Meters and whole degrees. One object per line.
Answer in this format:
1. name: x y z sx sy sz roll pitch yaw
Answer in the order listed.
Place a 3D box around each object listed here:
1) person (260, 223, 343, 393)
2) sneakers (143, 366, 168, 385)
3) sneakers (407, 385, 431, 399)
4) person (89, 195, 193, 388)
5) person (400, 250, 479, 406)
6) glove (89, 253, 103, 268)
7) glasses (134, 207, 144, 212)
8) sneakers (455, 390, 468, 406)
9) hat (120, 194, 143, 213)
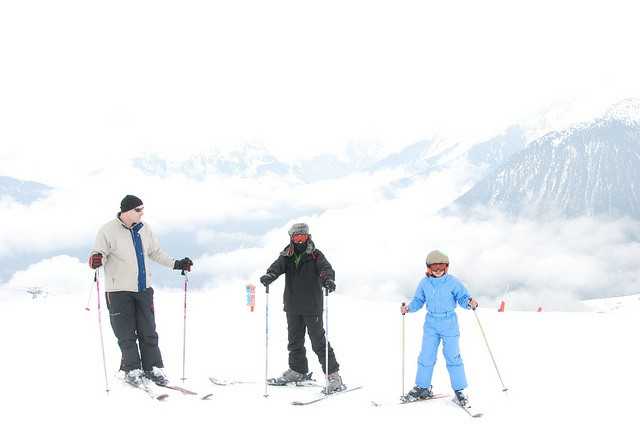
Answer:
1. person: -0.315 1.783 12.164 1.479 2.347 0.564 2 1 19
2. sneakers: -3.055 3.043 11.824 0.593 0.260 0.201 10 30 31
3. sneakers: 1.907 3.410 11.871 0.572 0.229 0.184 0 -4 -15
4. person: -3.583 1.418 11.900 1.448 3.528 0.839 2 1 -14
5. person: 2.210 2.130 11.707 1.155 2.442 0.466 2 1 12
6. glove: -4.139 0.871 11.550 0.226 0.278 0.191 1 1 -23
7. glasses: -3.256 -0.089 11.167 0.143 0.045 0.138 -17 -9 28
8. sneakers: 2.602 3.390 11.516 0.255 0.226 0.227 2 1 11
9. hat: -3.325 -0.155 10.957 0.268 0.200 0.268 -25 0 29
